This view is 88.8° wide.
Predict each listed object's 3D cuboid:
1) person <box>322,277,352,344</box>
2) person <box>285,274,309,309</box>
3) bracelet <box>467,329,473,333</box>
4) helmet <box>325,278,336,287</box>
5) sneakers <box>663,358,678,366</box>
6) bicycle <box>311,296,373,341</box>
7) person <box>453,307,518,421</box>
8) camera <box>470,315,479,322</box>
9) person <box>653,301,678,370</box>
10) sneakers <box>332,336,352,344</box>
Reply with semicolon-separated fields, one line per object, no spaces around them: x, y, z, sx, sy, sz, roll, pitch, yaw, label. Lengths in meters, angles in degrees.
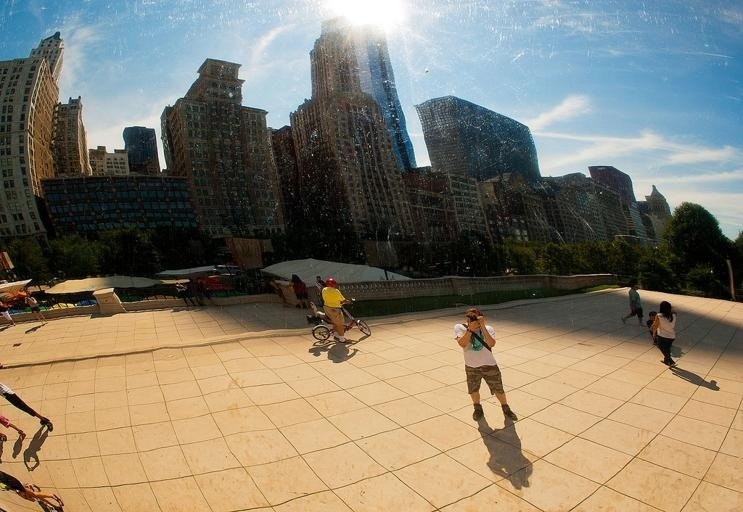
-1.059;1.713;11.740;0.661;2.039;0.856;5;13;21;person
-3.375;1.723;17.734;0.432;0.521;1.364;2;22;-32;person
1.942;1.481;7.477;0.024;0.033;0.099;-26;26;-13;bracelet
-1.177;0.844;11.659;0.255;0.304;0.402;-3;12;-15;helmet
7.808;2.812;9.992;0.164;0.166;0.360;-24;-23;3;sneakers
-0.881;2.255;12.779;1.998;1.454;1.105;-20;-3;-9;bicycle
2.266;2.183;7.682;1.032;2.192;1.033;-8;15;-34;person
2.028;1.222;7.498;0.100;0.215;0.126;8;1;10;camera
7.967;2.056;10.369;0.591;1.687;1.433;10;15;38;person
-0.824;2.600;11.809;0.620;0.308;0.232;-4;2;10;sneakers
